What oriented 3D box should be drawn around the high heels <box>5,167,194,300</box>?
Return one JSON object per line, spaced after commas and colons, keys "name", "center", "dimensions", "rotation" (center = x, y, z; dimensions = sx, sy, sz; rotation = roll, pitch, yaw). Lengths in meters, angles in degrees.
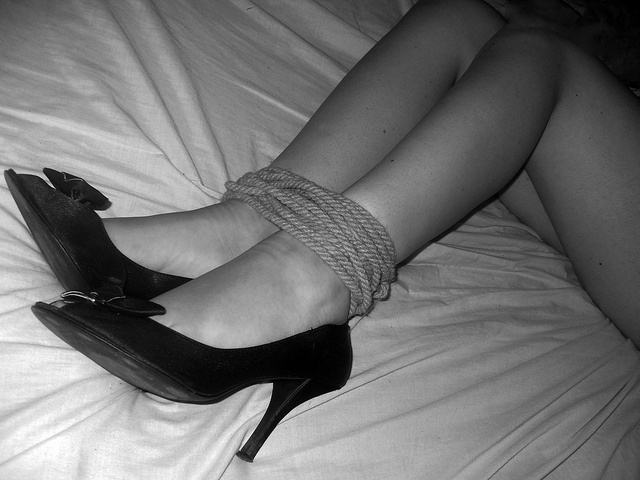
{"name": "high heels", "center": [-0.273, -0.007, 0.846], "dimensions": [0.072, 0.142, 0.213], "rotation": [-43, 123, -21]}
